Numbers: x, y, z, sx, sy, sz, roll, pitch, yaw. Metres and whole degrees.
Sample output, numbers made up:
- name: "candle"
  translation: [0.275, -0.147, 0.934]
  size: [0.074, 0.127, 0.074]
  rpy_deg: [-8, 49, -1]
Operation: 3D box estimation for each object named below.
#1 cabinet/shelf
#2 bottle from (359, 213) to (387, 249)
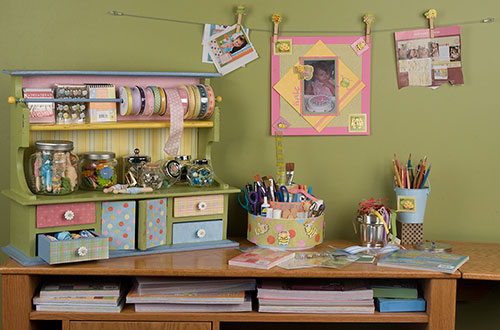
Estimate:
- name: "cabinet/shelf"
  translation: [-0.709, 0.017, 2.355]
  size: [1.140, 0.822, 0.449]
  rpy_deg: [-3, 6, -26]
- name: "bottle"
  translation: [0.654, 0.348, 2.495]
  size: [0.131, 0.177, 0.132]
  rpy_deg: [0, 13, 0]
